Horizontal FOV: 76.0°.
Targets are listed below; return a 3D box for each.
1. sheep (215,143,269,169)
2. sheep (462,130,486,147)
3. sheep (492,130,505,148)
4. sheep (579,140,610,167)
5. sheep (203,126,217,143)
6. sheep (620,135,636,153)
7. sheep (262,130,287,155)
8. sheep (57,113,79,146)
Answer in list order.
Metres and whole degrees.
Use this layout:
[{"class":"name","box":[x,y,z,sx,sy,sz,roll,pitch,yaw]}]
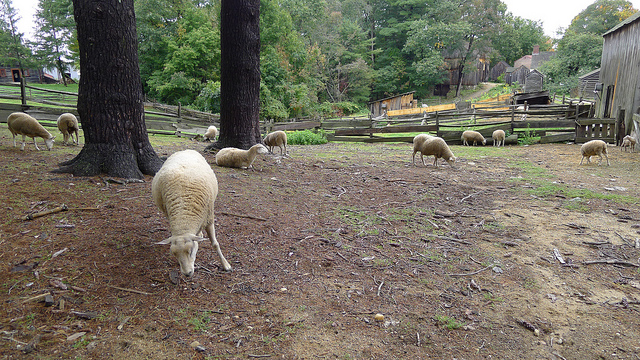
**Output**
[{"class":"sheep","box":[-2.862,-0.849,14.919,2.035,0.911,0.929,2,11,16]},{"class":"sheep","box":[9.589,-2.568,25.441,1.370,0.897,0.912,5,13,15]},{"class":"sheep","box":[10.986,-2.565,25.094,0.681,0.953,0.646,6,14,22]},{"class":"sheep","box":[12.284,-1.204,18.401,0.553,1.095,1.809,7,-4,-4]},{"class":"sheep","box":[-6.233,-2.603,23.513,0.885,1.167,1.716,2,12,-18]},{"class":"sheep","box":[15.973,-1.840,21.046,0.552,0.761,0.912,1,13,1]},{"class":"sheep","box":[-1.966,-1.552,17.754,0.734,1.032,1.598,-2,4,-41]},{"class":"sheep","box":[-10.784,-2.211,17.552,0.818,1.245,2.348,-6,9,-37]}]
